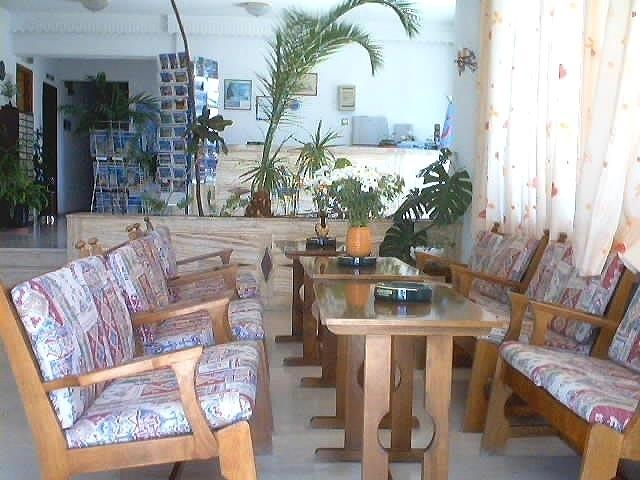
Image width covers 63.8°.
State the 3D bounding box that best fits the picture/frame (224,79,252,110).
[{"bbox_3d":[-1.531,-2.763,9.577,0.455,0.555,0.051,1,4,-2],"label":"picture/frame"}]

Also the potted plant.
[{"bbox_3d":[0.330,-0.134,3.251,0.504,0.609,0.477,0,-1,-7],"label":"potted plant"}]

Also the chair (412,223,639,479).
[{"bbox_3d":[1.120,0.508,3.166,0.840,1.376,0.940,4,0,-7],"label":"chair"}]

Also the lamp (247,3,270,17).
[{"bbox_3d":[-0.981,-3.710,8.272,0.235,0.139,0.259,0,4,1],"label":"lamp"}]
